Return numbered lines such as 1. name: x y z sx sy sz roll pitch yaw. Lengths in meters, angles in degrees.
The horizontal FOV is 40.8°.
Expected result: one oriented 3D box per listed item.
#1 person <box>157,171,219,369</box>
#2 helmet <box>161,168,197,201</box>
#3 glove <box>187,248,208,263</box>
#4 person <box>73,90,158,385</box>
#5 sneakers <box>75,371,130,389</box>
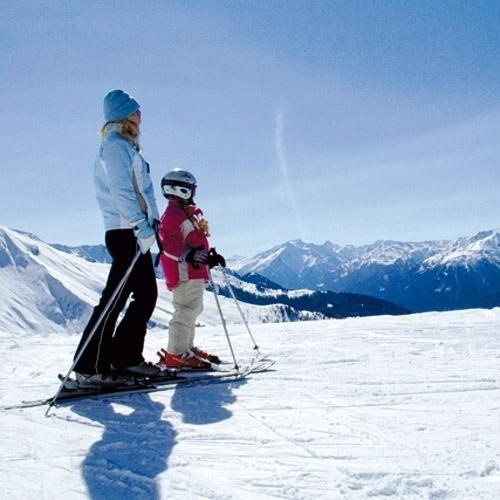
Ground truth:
1. person: -0.757 0.198 8.329 0.816 2.443 0.941 4 -3 -9
2. helmet: -0.979 -0.826 8.670 0.543 0.383 0.395 3 1 -31
3. glove: -0.601 0.071 8.206 0.152 0.188 0.365 1 -3 33
4. person: -1.285 -0.168 7.002 0.819 3.107 0.672 4 -3 -8
5. sneakers: -1.513 1.314 6.783 0.299 0.106 0.087 18 -44 -10
